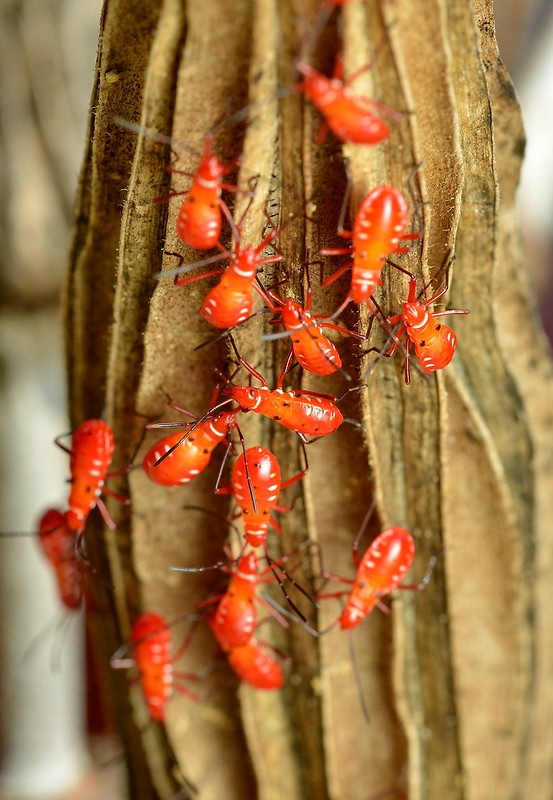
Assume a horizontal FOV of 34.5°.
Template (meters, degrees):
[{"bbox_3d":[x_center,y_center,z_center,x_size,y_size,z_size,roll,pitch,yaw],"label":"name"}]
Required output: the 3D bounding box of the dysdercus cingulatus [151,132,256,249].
[{"bbox_3d":[-0.140,-0.382,1.647,0.196,0.058,0.181,9,95,21],"label":"dysdercus cingulatus"}]

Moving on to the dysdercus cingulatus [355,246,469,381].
[{"bbox_3d":[0.261,-0.144,1.745,0.060,0.220,0.208,-16,56,-32],"label":"dysdercus cingulatus"}]

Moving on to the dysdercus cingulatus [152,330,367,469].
[{"bbox_3d":[-0.029,0.011,1.755,0.334,0.090,0.276,27,98,-2],"label":"dysdercus cingulatus"}]

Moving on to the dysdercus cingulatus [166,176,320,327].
[{"bbox_3d":[-0.077,-0.253,1.634,0.216,0.059,0.230,21,104,2],"label":"dysdercus cingulatus"}]

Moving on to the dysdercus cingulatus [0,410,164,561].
[{"bbox_3d":[-0.418,0.182,1.923,0.237,0.279,0.088,6,34,5],"label":"dysdercus cingulatus"}]

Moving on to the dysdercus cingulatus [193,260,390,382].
[{"bbox_3d":[0.054,-0.146,1.758,0.197,0.183,0.059,-9,18,25],"label":"dysdercus cingulatus"}]
